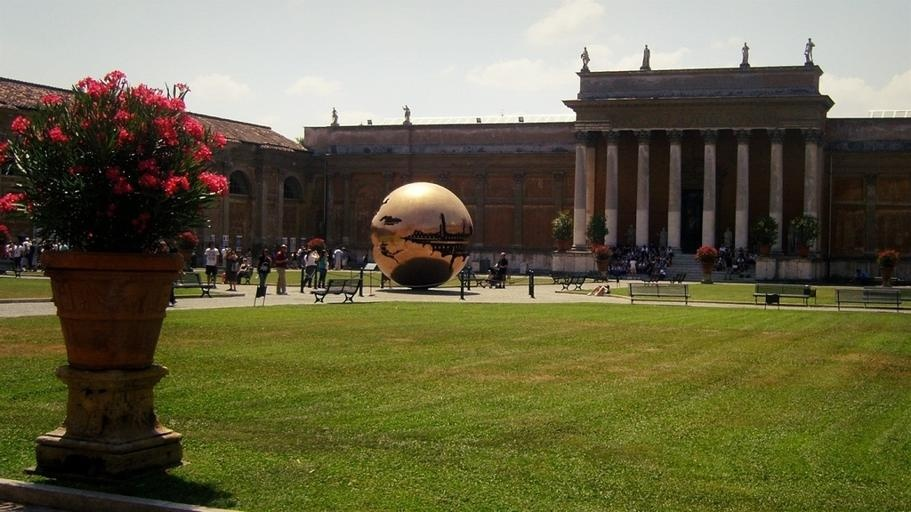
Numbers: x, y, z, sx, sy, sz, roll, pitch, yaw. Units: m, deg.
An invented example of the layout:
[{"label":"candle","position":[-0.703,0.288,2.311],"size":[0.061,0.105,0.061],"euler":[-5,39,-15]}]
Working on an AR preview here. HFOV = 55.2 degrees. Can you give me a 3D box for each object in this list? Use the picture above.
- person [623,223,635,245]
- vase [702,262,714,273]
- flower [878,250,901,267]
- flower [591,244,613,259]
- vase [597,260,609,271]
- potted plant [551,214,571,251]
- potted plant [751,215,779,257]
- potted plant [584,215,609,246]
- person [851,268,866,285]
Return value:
[{"label":"person","position":[13.721,-1.715,68.875],"size":[0.656,1.565,1.507],"euler":[2,9,4]},{"label":"vase","position":[15.785,0.676,54.720],"size":[0.785,0.551,0.753],"euler":[0,-5,-2]},{"label":"flower","position":[25.900,0.136,52.326],"size":[1.158,0.976,1.173],"euler":[-2,-6,17]},{"label":"flower","position":[9.983,-0.435,59.510],"size":[1.168,0.938,1.118],"euler":[3,-4,-9]},{"label":"vase","position":[9.958,0.623,59.436],"size":[0.855,0.601,0.827],"euler":[1,-2,7]},{"label":"potted plant","position":[8.102,-1.873,65.861],"size":[1.258,2.824,2.772],"euler":[3,9,13]},{"label":"potted plant","position":[21.788,-1.444,61.634],"size":[1.494,2.685,2.631],"euler":[5,9,22]},{"label":"potted plant","position":[10.552,-1.981,65.081],"size":[1.396,2.120,1.561],"euler":[3,9,12]},{"label":"person","position":[27.704,1.360,60.225],"size":[0.782,1.011,2.483],"euler":[-4,-6,14]}]
